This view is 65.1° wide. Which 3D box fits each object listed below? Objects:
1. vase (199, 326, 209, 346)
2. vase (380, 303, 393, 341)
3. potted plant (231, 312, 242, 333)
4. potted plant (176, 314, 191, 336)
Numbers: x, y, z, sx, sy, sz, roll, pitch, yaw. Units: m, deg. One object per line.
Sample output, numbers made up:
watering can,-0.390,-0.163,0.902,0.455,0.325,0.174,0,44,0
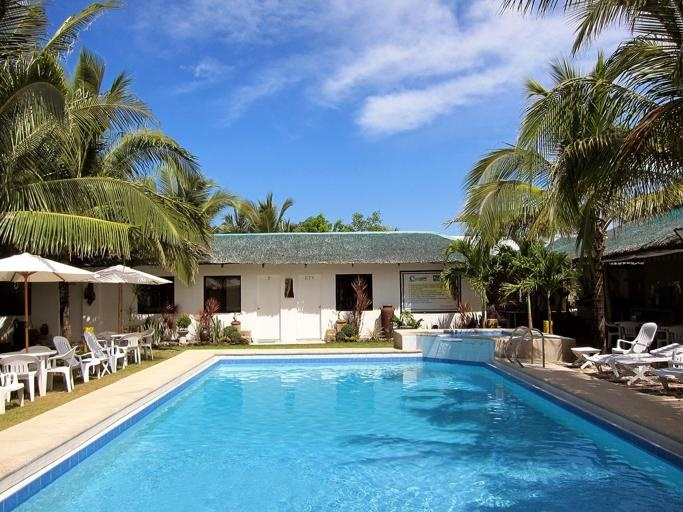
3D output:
vase,-5.531,3.154,21.526,0.401,0.672,0.352,-2,3,-18
vase,1.886,2.707,22.075,0.500,1.299,0.403,-1,3,4
potted plant,-4.346,2.743,22.043,0.407,0.727,0.652,-2,3,-12
potted plant,-6.457,2.830,21.874,0.691,0.950,0.701,0,-3,5
